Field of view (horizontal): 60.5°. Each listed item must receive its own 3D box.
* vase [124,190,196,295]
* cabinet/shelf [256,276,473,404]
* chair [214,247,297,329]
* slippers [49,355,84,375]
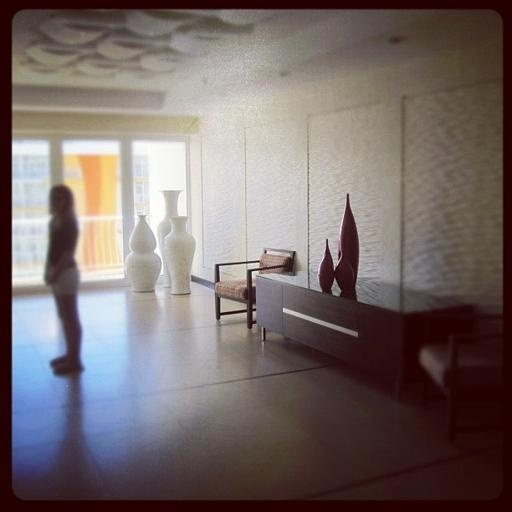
[{"bbox_3d":[-0.327,-0.001,1.564,0.213,0.285,0.276,5,6,41],"label":"vase"},{"bbox_3d":[0.381,0.271,1.589,0.767,0.389,0.212,1,5,0],"label":"cabinet/shelf"},{"bbox_3d":[-0.001,0.109,1.563,0.260,0.284,0.261,3,2,-13],"label":"chair"},{"bbox_3d":[-0.636,0.368,1.468,0.087,0.034,0.057,14,41,-33],"label":"slippers"}]
